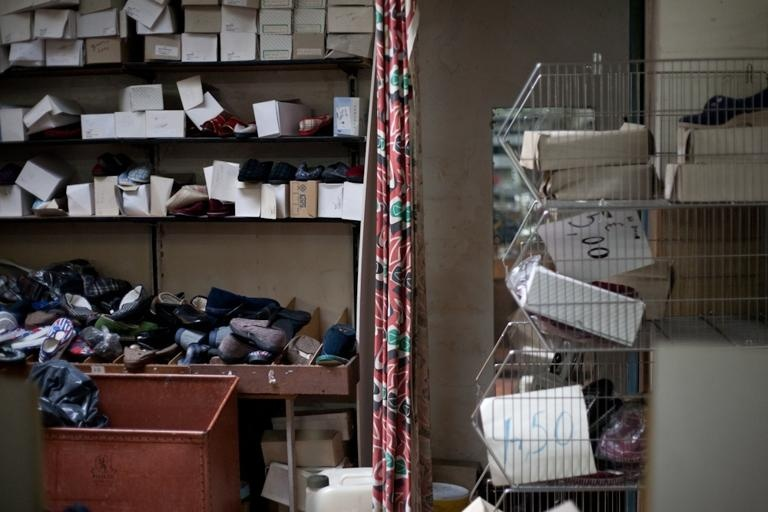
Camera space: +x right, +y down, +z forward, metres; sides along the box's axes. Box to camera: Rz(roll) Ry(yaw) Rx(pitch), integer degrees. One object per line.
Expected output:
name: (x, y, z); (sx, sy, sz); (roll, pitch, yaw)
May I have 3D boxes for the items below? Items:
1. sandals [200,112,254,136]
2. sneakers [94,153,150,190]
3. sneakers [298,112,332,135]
sandals: (-0.995, -0.821, 5.050); (0.205, 0.102, 0.220); (-2, 7, -6)
sneakers: (-1.715, -0.554, 5.185); (0.242, 0.137, 0.338); (1, 9, -35)
sneakers: (-0.440, -0.835, 5.029); (0.205, 0.086, 0.107); (-33, 30, -20)
